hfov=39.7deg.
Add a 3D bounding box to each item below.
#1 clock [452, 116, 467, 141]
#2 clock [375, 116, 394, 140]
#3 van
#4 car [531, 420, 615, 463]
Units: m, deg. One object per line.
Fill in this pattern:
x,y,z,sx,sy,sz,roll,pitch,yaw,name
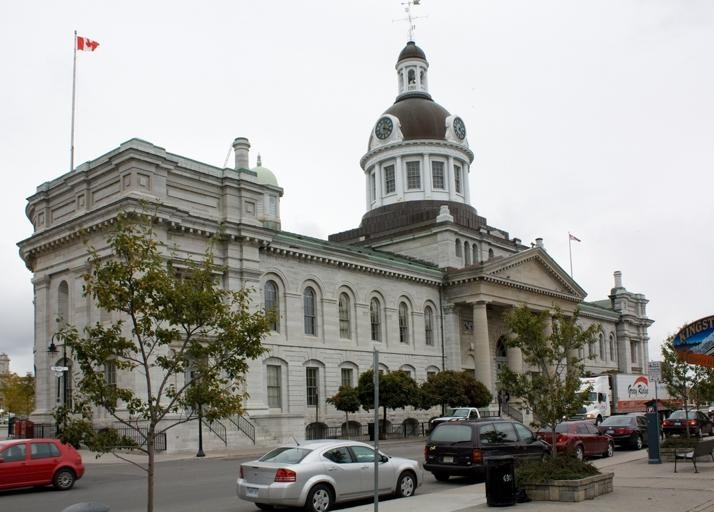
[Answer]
8.713,-10.755,83.310,0.271,2.085,2.019,-11,-17,31,clock
2.358,-10.787,82.885,0.172,2.109,2.217,9,-18,-37,clock
4.929,7.327,38.041,5.628,2.173,2.496,7,-11,-43,van
9.872,8.056,43.925,1.998,1.420,4.452,-6,-8,43,car
